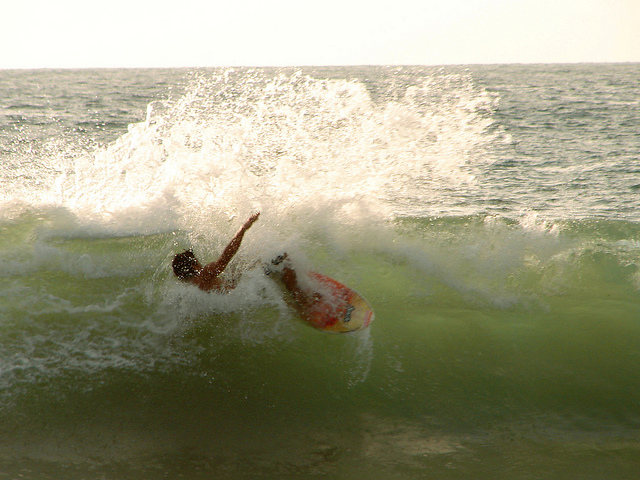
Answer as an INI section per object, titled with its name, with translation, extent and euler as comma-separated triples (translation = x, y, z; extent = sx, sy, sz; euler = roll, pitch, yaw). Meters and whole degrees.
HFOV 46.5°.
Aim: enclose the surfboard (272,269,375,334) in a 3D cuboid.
[surfboard]
translation = 0.181, 1.299, 15.195
extent = 1.280, 0.930, 1.499
euler = -15, 21, -32
